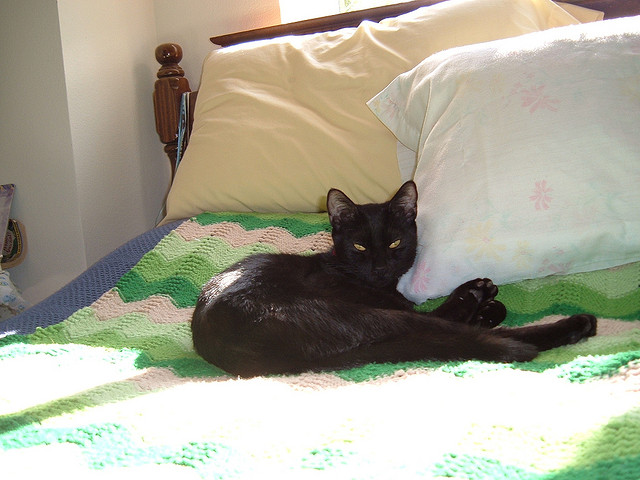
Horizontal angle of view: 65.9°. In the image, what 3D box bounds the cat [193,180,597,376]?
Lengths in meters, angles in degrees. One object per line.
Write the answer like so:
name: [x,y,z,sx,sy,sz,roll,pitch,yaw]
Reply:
cat: [0.205,0.081,1.082,1.001,0.412,0.328,-4,-4,5]
